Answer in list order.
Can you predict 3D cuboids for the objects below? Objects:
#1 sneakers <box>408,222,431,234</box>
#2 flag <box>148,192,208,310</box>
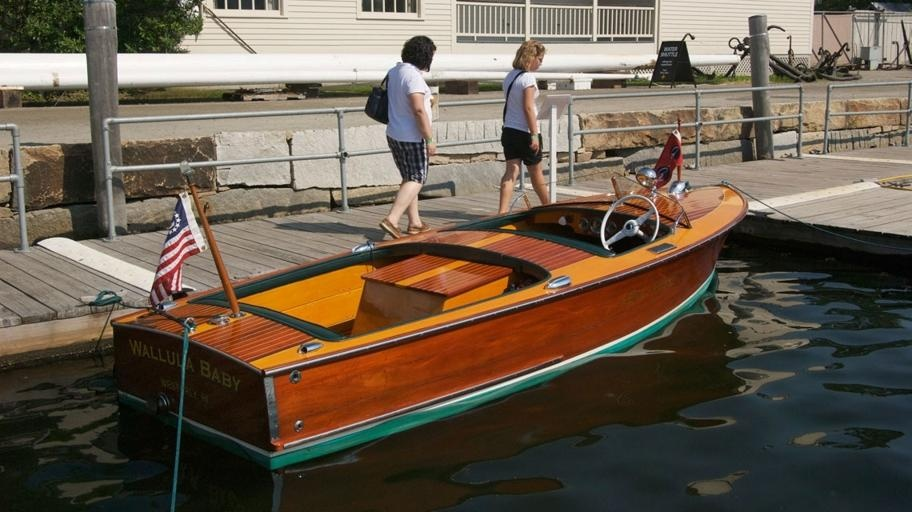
[{"bbox_3d":[-0.444,-0.339,9.199,0.377,0.104,0.135,-8,14,-17],"label":"sneakers"},{"bbox_3d":[-2.418,-0.062,6.536,0.566,1.001,0.320,-6,13,-4],"label":"flag"}]
